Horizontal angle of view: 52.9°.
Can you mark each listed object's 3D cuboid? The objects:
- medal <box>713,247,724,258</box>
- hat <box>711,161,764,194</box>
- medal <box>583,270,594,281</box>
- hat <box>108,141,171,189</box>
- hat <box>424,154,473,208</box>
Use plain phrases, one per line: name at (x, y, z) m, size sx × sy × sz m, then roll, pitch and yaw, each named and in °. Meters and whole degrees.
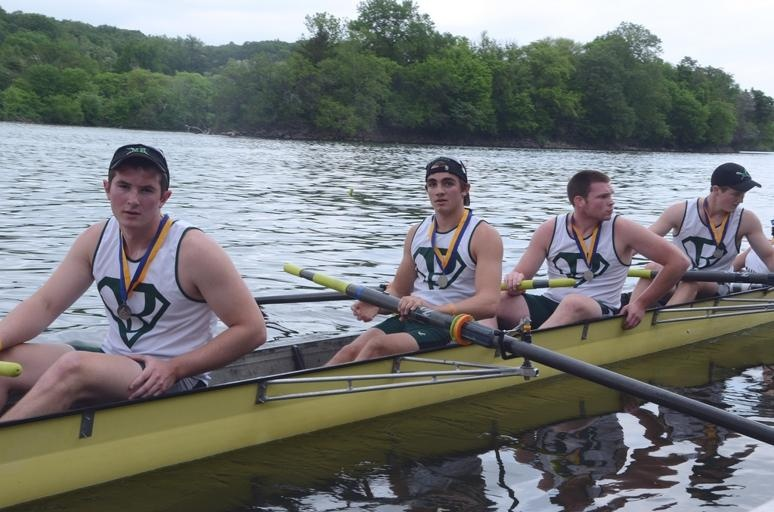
medal at (3.991, -0.041, 9.375) m, size 0.139 × 0.098 × 0.121 m, roll -3°, pitch 8°, yaw 8°
hat at (4.103, -0.940, 9.223) m, size 0.484 × 0.354 × 0.506 m, roll 6°, pitch 9°, yaw 19°
medal at (2.115, 0.206, 8.171) m, size 0.111 × 0.089 × 0.062 m, roll -20°, pitch 1°, yaw 10°
hat at (-1.839, -0.724, 5.954) m, size 0.371 × 0.199 × 0.438 m, roll 6°, pitch -11°, yaw -5°
hat at (0.588, -0.765, 7.551) m, size 0.428 × 0.377 × 0.574 m, roll 5°, pitch 6°, yaw 38°
